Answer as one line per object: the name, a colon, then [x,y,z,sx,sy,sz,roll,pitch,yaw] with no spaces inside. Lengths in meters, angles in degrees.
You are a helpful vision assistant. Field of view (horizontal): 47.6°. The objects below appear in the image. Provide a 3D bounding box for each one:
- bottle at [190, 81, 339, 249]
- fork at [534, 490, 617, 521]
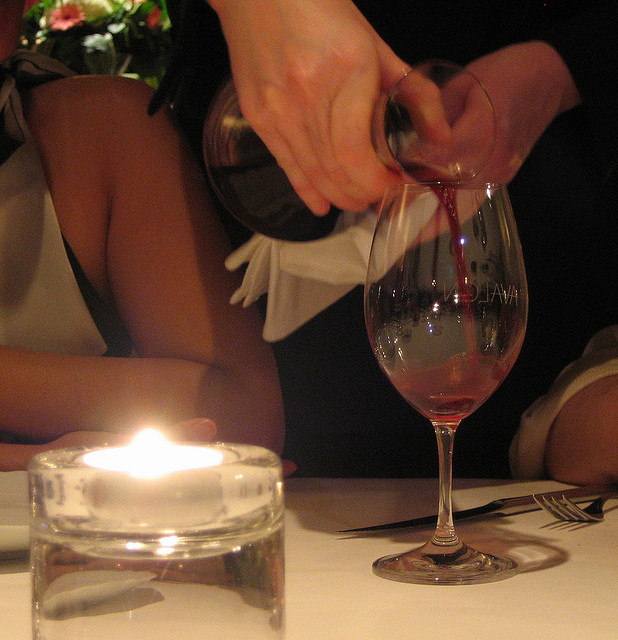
bottle: [-0.038,-0.155,0.648,0.095,0.120,0.137,-34,37,-7]
fork: [0.180,0.125,0.462,0.020,0.018,0.125,-4,-9,41]
